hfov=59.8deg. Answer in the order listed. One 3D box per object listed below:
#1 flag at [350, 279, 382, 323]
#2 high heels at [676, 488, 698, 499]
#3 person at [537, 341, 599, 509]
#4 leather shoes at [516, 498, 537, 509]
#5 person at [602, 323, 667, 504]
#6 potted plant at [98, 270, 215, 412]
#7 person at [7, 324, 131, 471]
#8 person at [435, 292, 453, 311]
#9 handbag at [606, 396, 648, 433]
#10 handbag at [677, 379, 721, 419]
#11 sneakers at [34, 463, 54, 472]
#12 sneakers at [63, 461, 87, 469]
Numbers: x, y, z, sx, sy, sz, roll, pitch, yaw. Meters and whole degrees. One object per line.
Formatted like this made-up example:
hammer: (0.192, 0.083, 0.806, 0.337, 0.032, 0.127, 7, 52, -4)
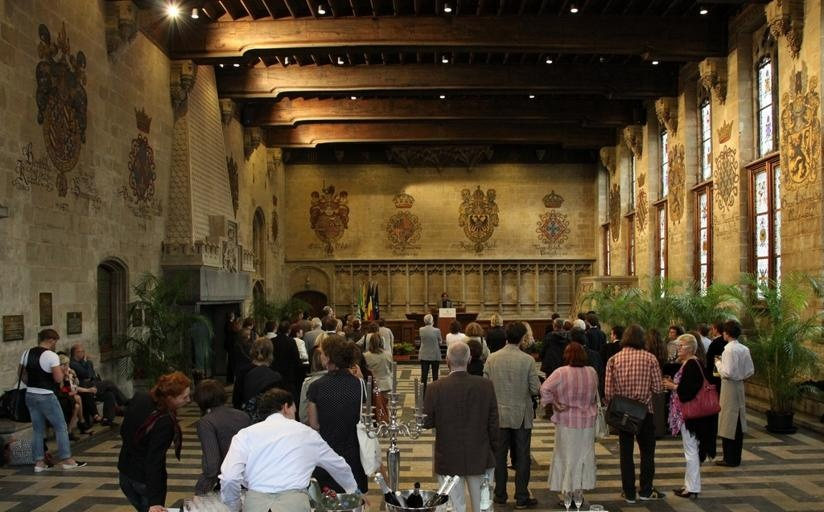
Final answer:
flag: (-1.865, 1.781, 27.766, 1.455, 2.519, 0.509, 0, -8, 3)
high heels: (4.433, 3.866, 11.630, 0.135, 0.103, 0.344, 1, -3, -15)
person: (2.433, 2.478, 11.038, 0.787, 2.233, 0.441, -1, -9, 14)
leather shoes: (1.812, 3.913, 11.386, 0.363, 0.155, 0.132, -3, 1, -20)
person: (3.633, 2.568, 11.745, 1.028, 2.916, 0.989, 0, 7, 20)
potted plant: (-6.013, 1.966, 17.042, 2.597, 3.547, 2.526, 0, -8, -8)
person: (-6.482, 2.572, 12.766, 1.056, 2.485, 0.769, 6, -10, -28)
person: (1.180, 1.734, 26.715, 0.601, 1.151, 0.407, 1, -18, -4)
handbag: (3.399, 2.490, 11.315, 0.494, 0.462, 0.264, 7, -15, 14)
handbag: (4.620, 2.198, 11.660, 0.596, 0.824, 0.345, -9, 10, 23)
sneakers: (-6.565, 3.750, 12.698, 0.119, 0.144, 0.364, 0, -3, 37)
sneakers: (-6.040, 3.749, 12.813, 0.288, 0.105, 0.156, 2, -4, -21)
